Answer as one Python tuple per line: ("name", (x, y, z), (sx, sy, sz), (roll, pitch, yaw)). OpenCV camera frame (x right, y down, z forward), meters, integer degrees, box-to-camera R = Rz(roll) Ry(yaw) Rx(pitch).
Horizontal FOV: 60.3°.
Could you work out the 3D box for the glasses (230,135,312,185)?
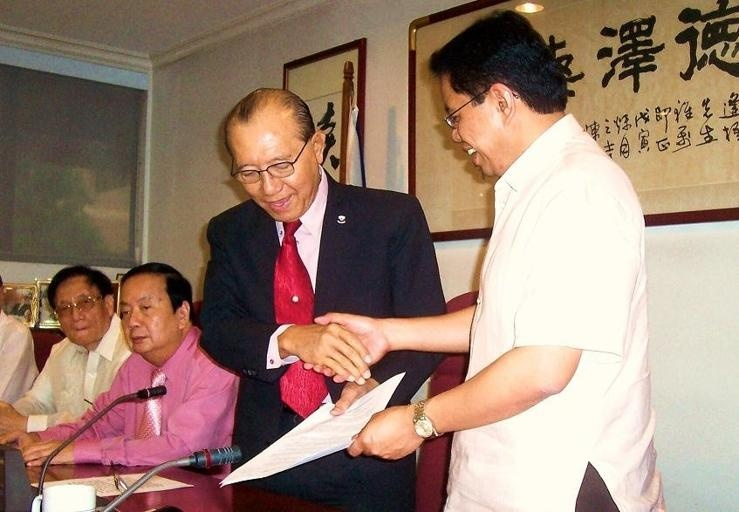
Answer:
("glasses", (-0.311, -0.268, 1.983), (0.155, 0.047, 0.163), (-12, 34, 34))
